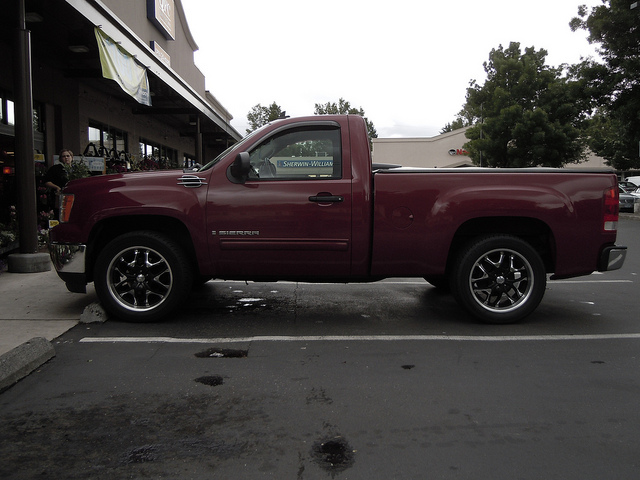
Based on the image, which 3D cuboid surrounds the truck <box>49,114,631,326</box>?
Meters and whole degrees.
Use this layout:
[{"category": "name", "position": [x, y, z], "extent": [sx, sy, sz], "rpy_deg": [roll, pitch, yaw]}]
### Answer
[{"category": "truck", "position": [0.139, -0.209, 6.073], "extent": [6.495, 2.525, 2.918], "rpy_deg": [2, 0, -1]}]

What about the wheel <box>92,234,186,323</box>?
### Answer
[{"category": "wheel", "position": [-2.143, 0.466, 5.127], "extent": [0.941, 1.041, 0.328], "rpy_deg": [-1, 6, 2]}]

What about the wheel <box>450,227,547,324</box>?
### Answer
[{"category": "wheel", "position": [2.125, 0.385, 5.118], "extent": [1.023, 1.131, 0.374], "rpy_deg": [2, 4, -1]}]
